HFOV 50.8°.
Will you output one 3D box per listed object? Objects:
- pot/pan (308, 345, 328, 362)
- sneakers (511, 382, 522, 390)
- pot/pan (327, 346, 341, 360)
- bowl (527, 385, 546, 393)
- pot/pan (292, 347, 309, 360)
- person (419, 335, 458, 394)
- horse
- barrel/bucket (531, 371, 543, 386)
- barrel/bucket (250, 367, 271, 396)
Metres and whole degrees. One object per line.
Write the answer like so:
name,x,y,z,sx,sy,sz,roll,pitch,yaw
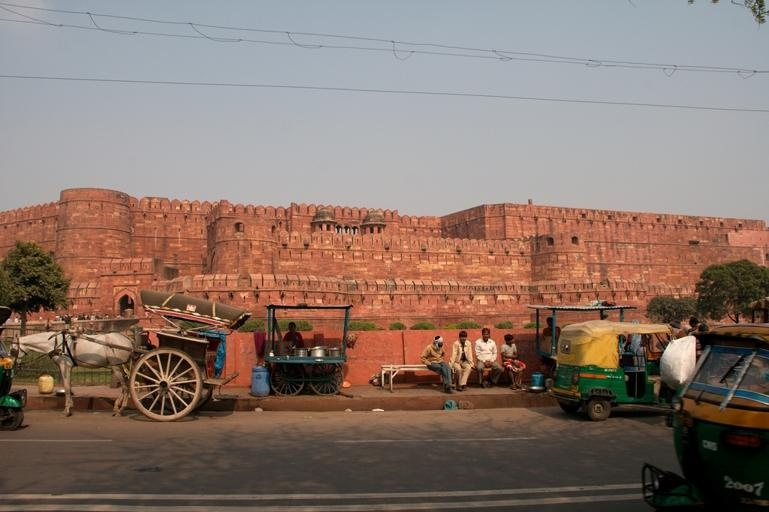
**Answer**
pot/pan,-1.206,1.847,15.338,0.297,0.222,0.268,-1,-3,19
sneakers,2.727,2.634,16.490,0.228,0.083,0.392,-1,0,10
pot/pan,-0.898,1.853,15.411,0.222,0.161,0.208,-4,-9,29
bowl,3.045,2.602,15.907,0.370,0.138,0.353,-1,0,0
pot/pan,-1.518,1.851,15.287,0.234,0.141,0.235,-1,-3,44
person,1.225,2.145,16.213,0.616,1.042,0.823,-1,1,-35
horse,-6.011,1.913,14.987,3.352,1.918,0.976,1,-10,2
barrel/bucket,2.988,2.430,15.973,0.281,0.224,0.246,2,-5,-17
barrel/bucket,-2.293,2.386,15.497,0.330,0.534,0.410,-1,1,-8
